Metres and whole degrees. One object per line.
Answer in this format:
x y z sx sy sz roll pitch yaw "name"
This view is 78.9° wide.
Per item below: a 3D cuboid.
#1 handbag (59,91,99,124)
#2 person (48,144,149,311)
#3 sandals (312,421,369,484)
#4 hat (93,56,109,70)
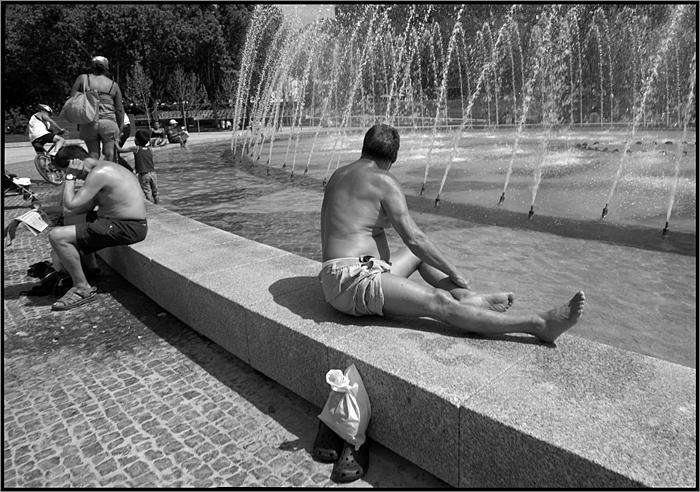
-5.277 -2.672 8.256 0.658 0.605 0.273 3 15 -2 "handbag"
-3.411 -0.321 5.533 1.247 1.943 1.184 8 13 12 "person"
-0.065 1.386 2.861 0.394 0.229 0.286 5 15 5 "sandals"
-4.980 -3.636 8.490 0.240 0.289 0.833 -4 17 -26 "hat"
